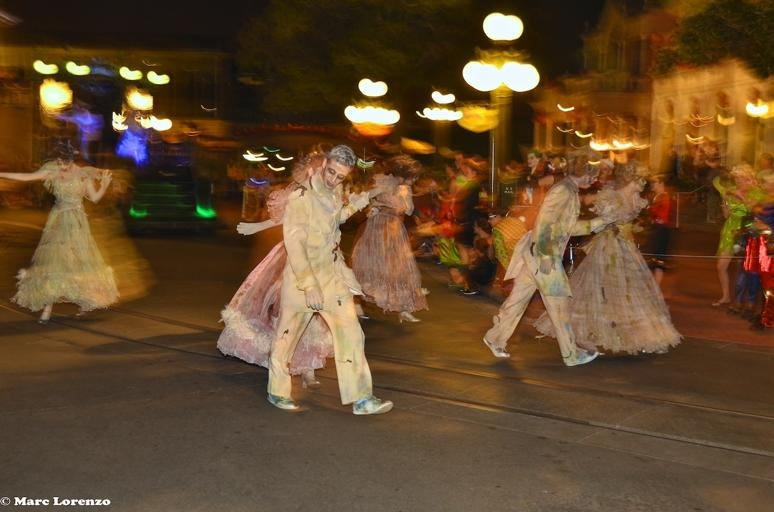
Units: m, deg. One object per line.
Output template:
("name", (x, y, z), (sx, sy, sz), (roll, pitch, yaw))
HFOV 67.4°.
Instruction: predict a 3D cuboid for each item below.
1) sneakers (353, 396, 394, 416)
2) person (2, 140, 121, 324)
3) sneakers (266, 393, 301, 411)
("sneakers", (-0.143, 1.413, 5.504), (0.302, 0.108, 0.196), (-1, -5, -9))
("person", (-4.948, -0.386, 8.849), (1.394, 2.693, 1.039), (-3, 11, -23))
("sneakers", (-0.997, 1.423, 5.619), (0.314, 0.109, 0.147), (5, -2, 20))
